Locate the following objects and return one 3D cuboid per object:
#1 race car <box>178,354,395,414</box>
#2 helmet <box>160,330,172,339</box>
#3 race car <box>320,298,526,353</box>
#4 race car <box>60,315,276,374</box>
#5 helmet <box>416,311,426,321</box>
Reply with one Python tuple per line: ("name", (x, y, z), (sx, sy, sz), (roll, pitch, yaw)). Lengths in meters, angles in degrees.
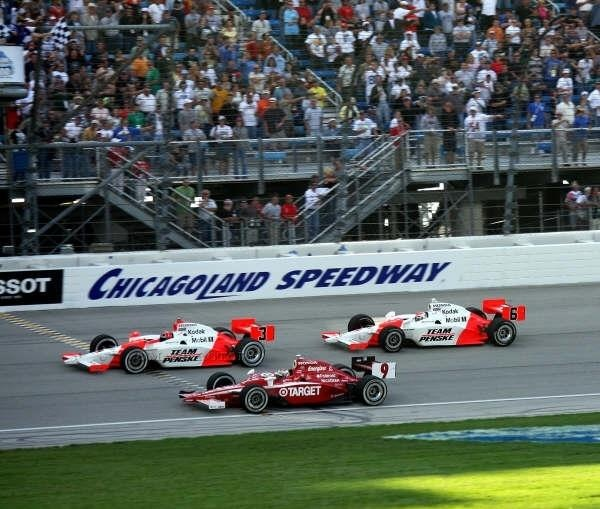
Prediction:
("race car", (-0.077, 1.579, 15.683), (3.338, 0.597, 1.254), (-1, 0, -7))
("helmet", (-1.750, 1.052, 17.117), (0.119, 0.097, 0.093), (-15, 34, -40))
("race car", (1.755, 0.966, 18.172), (2.602, 0.695, 0.663), (-1, 1, -11))
("race car", (-1.690, 1.186, 17.264), (2.615, 0.420, 0.922), (-3, 13, -23))
("helmet", (1.651, 0.852, 18.083), (0.151, 0.106, 0.156), (-1, 1, 6))
